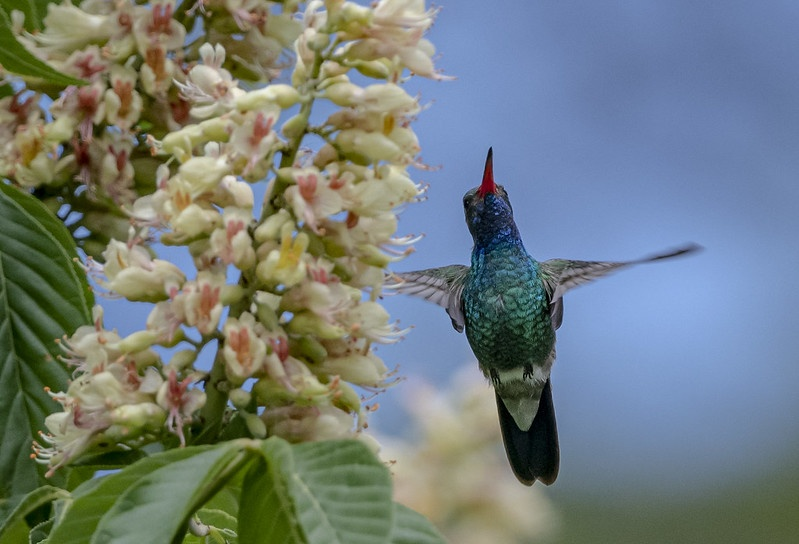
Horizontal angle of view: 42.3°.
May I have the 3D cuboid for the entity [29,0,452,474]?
[{"bbox_3d":[-0.285,-0.095,1.657,0.677,0.731,0.526,3,-35,0],"label":"entity"}]
